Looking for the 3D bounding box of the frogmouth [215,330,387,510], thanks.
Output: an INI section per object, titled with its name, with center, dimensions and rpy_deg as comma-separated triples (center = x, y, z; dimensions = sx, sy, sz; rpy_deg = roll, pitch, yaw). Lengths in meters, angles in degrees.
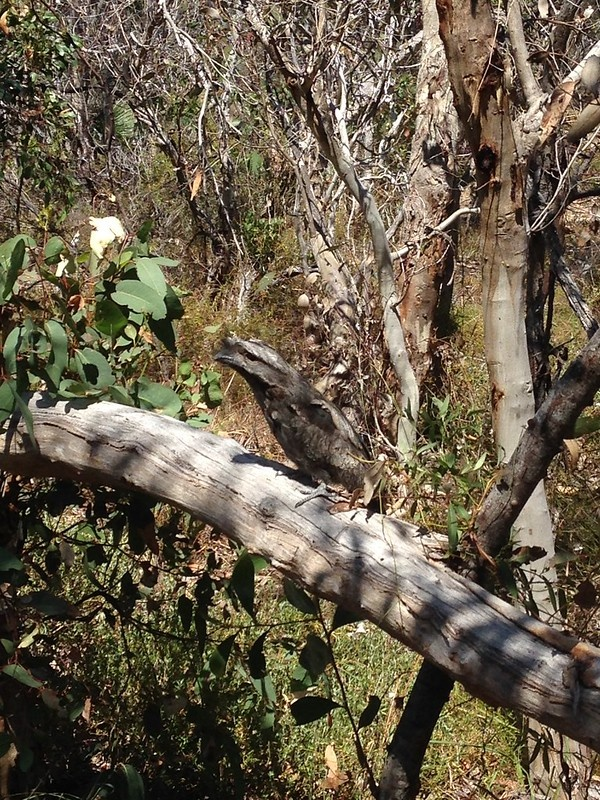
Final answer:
[frogmouth]
center = 0.030, 0.089, 2.782
dimensions = 0.659, 0.596, 0.249
rpy_deg = -8, 27, -30
